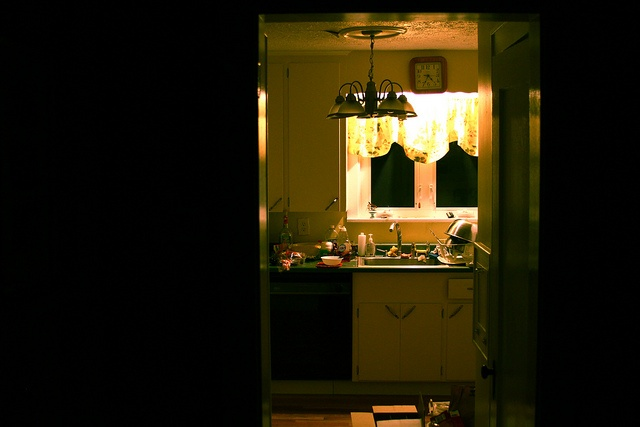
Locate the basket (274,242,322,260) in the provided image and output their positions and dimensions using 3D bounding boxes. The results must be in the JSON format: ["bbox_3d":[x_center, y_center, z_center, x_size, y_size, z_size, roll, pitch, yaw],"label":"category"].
[{"bbox_3d":[-0.152,0.279,4.328,0.301,0.110,0.209,0,1,-17],"label":"basket"}]

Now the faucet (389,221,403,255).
[{"bbox_3d":[0.575,0.192,4.423,0.088,0.244,0.248,1,1,8],"label":"faucet"}]

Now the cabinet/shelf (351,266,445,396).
[{"bbox_3d":[0.552,0.756,4.157,0.665,0.798,0.473,0,6,-3],"label":"cabinet/shelf"}]

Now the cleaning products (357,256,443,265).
[{"bbox_3d":[0.602,0.351,4.252,0.595,0.067,0.183,1,1,29],"label":"cleaning products"}]

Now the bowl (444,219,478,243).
[{"bbox_3d":[0.748,0.090,3.063,0.128,0.072,0.134,4,1,0],"label":"bowl"}]

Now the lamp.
[{"bbox_3d":[0.306,-0.832,3.443,0.502,0.496,0.567,2,9,21],"label":"lamp"}]

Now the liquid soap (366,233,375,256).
[{"bbox_3d":[0.388,0.244,4.447,0.071,0.162,0.198,1,1,4],"label":"liquid soap"}]

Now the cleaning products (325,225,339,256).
[{"bbox_3d":[0.094,0.197,4.392,0.086,0.209,0.208,0,1,-2],"label":"cleaning products"}]

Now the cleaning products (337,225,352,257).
[{"bbox_3d":[0.188,0.211,4.393,0.109,0.221,0.277,1,1,3],"label":"cleaning products"}]

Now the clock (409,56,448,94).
[{"bbox_3d":[0.802,-1.025,4.301,0.254,0.274,0.030,0,2,6],"label":"clock"}]

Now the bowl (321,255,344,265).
[{"bbox_3d":[0.083,0.332,4.047,0.126,0.053,0.123,1,1,0],"label":"bowl"}]

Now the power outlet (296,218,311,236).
[{"bbox_3d":[-0.127,0.098,4.493,0.121,0.174,0.020,0,4,2],"label":"power outlet"}]

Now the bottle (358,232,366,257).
[{"bbox_3d":[0.321,0.243,4.438,0.061,0.166,0.134,1,1,3],"label":"bottle"}]
